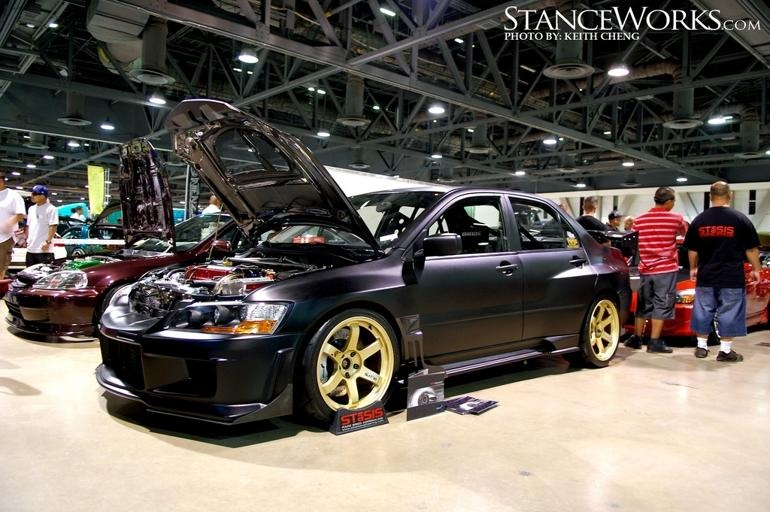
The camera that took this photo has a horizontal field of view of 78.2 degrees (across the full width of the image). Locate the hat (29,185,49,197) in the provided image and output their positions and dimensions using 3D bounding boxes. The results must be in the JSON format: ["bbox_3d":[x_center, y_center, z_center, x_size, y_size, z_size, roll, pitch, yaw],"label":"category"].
[{"bbox_3d":[-5.732,-1.103,7.900,0.385,0.136,0.257,3,2,36],"label":"hat"}]

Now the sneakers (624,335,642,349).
[{"bbox_3d":[3.484,1.203,6.661,0.175,0.106,0.327,2,2,1],"label":"sneakers"}]

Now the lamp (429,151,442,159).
[{"bbox_3d":[2.212,-4.372,20.227,0.558,0.335,0.417,-1,-5,3],"label":"lamp"}]

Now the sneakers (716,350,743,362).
[{"bbox_3d":[4.419,1.273,6.018,0.434,0.106,0.132,-1,2,-22],"label":"sneakers"}]

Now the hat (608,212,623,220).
[{"bbox_3d":[4.786,-0.844,9.748,0.307,0.103,0.185,-17,19,-22],"label":"hat"}]

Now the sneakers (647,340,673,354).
[{"bbox_3d":[3.710,1.205,6.340,0.310,0.176,0.285,6,9,24],"label":"sneakers"}]
